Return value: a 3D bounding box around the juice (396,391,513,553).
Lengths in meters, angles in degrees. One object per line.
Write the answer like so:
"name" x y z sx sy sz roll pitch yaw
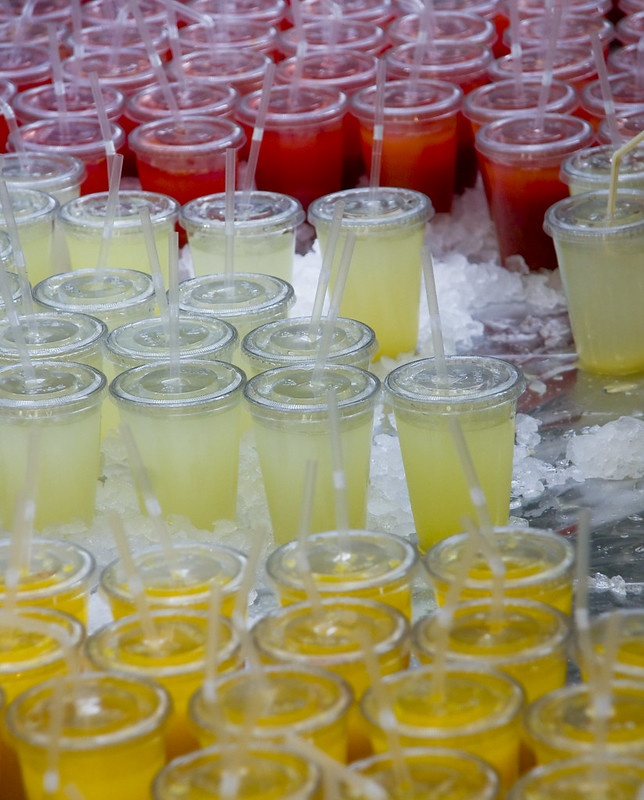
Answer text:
"juice" 0.185 0.113 1.195 0.163 0.224 0.095 -2 11 8

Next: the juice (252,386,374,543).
"juice" -0.008 0.090 1.207 0.182 0.260 0.151 -4 10 -2

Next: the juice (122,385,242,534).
"juice" -0.197 0.098 1.235 0.166 0.204 0.088 -5 11 -10
